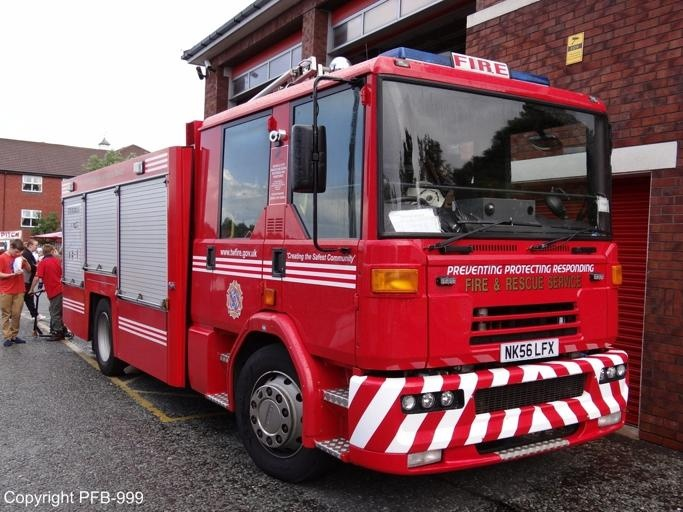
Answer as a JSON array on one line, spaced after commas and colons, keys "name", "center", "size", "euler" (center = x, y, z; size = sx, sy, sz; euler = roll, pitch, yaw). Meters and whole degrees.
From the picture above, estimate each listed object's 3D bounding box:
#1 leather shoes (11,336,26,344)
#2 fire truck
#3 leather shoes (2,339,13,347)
[{"name": "leather shoes", "center": [-6.719, 1.736, 10.515], "size": [0.291, 0.220, 0.104], "euler": [-1, -1, -12]}, {"name": "fire truck", "center": [-0.686, 0.034, 6.661], "size": [2.949, 3.340, 6.782], "euler": [2, -1, -35]}, {"name": "leather shoes", "center": [-6.699, 1.737, 10.172], "size": [0.091, 0.111, 0.264], "euler": [2, -5, -37]}]
